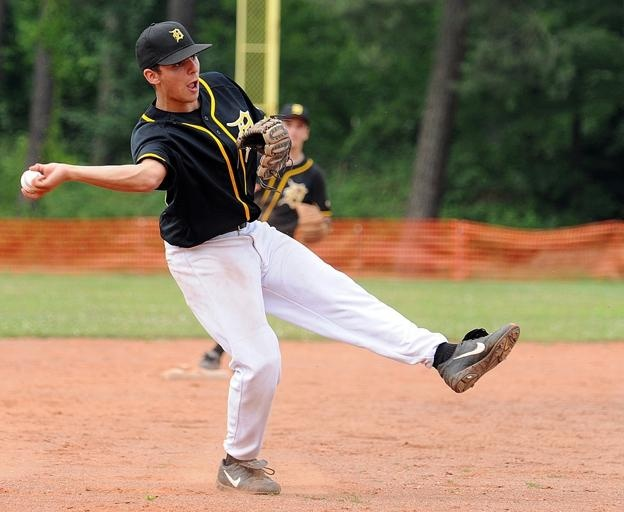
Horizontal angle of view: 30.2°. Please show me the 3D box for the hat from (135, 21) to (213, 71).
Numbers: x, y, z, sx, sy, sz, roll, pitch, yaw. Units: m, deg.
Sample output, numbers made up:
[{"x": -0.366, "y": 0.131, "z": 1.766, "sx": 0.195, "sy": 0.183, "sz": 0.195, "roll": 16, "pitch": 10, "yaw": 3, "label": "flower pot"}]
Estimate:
[{"x": -1.089, "y": -1.605, "z": 8.734, "sx": 0.553, "sy": 0.240, "sz": 0.343, "roll": -12, "pitch": 13, "yaw": 22, "label": "hat"}]

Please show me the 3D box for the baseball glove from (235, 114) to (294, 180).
[{"x": -0.365, "y": -0.819, "z": 8.772, "sx": 0.390, "sy": 0.483, "sz": 0.226, "roll": 1, "pitch": 12, "yaw": 1, "label": "baseball glove"}]

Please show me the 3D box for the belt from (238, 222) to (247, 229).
[{"x": -0.540, "y": -0.232, "z": 8.812, "sx": 0.015, "sy": 0.056, "sz": 0.057, "roll": 51, "pitch": 5, "yaw": 28, "label": "belt"}]

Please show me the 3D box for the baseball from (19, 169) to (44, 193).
[{"x": -2.091, "y": -0.567, "z": 8.455, "sx": 0.208, "sy": 0.141, "sz": 0.112, "roll": 11, "pitch": 16, "yaw": 42, "label": "baseball"}]
